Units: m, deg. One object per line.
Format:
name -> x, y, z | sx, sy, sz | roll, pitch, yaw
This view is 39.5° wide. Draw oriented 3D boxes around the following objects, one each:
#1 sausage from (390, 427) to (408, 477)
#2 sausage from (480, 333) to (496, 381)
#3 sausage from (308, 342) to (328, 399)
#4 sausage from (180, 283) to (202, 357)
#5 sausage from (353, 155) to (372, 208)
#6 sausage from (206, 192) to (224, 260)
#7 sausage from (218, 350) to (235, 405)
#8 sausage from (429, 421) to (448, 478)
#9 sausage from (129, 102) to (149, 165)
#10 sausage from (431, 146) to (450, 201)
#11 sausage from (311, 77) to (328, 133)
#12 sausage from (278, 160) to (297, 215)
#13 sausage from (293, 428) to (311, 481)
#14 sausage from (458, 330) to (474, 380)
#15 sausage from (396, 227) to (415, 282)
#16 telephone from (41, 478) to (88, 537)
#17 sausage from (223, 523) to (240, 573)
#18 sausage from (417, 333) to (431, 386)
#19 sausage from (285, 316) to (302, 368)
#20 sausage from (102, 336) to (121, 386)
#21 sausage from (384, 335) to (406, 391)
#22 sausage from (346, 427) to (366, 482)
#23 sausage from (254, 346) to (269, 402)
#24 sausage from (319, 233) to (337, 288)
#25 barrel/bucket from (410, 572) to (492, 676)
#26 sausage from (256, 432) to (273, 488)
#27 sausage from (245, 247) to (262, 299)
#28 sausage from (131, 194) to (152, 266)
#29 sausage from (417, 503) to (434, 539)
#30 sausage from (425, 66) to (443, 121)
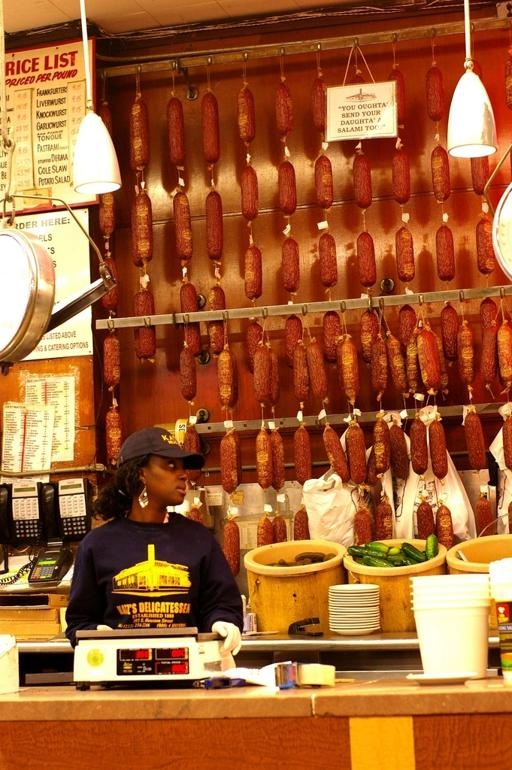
sausage -> 0.781, 0.374, 3.919 | 0.103, 0.310, 0.158 | -3, -5, 11
sausage -> 1.222, -0.148, 3.751 | 0.081, 0.267, 0.110 | -4, -5, 15
sausage -> 0.331, -0.072, 3.979 | 0.086, 0.336, 0.097 | -9, -10, 12
sausage -> -0.397, -0.401, 4.354 | 0.107, 0.461, 0.121 | -5, 5, 4
sausage -> 0.605, -1.153, 4.135 | 0.099, 0.348, 0.105 | -11, -11, 34
sausage -> -0.257, -0.959, 4.329 | 0.104, 0.408, 0.106 | -3, 0, 45
sausage -> -0.174, -0.047, 4.080 | 0.089, 0.340, 0.146 | -2, -5, -1
sausage -> 0.953, 0.349, 3.789 | 0.082, 0.312, 0.089 | -6, -2, -39
sausage -> -0.744, -1.587, 4.494 | 0.114, 0.443, 0.178 | -2, -5, -10
sausage -> 1.041, -1.206, 4.044 | 0.088, 0.349, 0.186 | -4, -5, 13
sausage -> 0.401, -1.661, 4.289 | 0.117, 0.111, 0.418 | -11, -31, 0
sausage -> 0.169, -1.197, 4.241 | 0.103, 0.345, 0.105 | -3, -5, 35
sausage -> 0.248, 0.402, 3.945 | 0.081, 0.309, 0.090 | -2, -9, 3
sausage -> 1.130, -0.145, 3.850 | 0.075, 0.282, 0.080 | 5, -5, -35
sausage -> 0.859, -0.735, 4.048 | 0.093, 0.331, 0.100 | -4, -13, -8
telephone -> -1.142, 0.747, 4.318 | 0.283, 0.392, 0.215 | -7, 9, -6
sausage -> -0.157, 0.897, 3.946 | 0.080, 0.297, 0.086 | -6, -6, 16
sausage -> 0.887, -0.131, 3.825 | 0.048, 0.290, 0.185 | -3, -5, 9
sausage -> 0.202, -0.240, 4.100 | 0.085, 0.280, 0.086 | -3, -8, 32
sausage -> -0.879, -0.149, 4.336 | 0.100, 0.326, 0.106 | 0, -2, 1
sausage -> 0.776, -0.127, 3.972 | 0.099, 0.333, 0.198 | -3, -5, 12
sausage -> 0.534, 0.375, 3.849 | 0.094, 0.302, 0.105 | -7, -1, 43
sausage -> 0.022, -0.068, 4.021 | 0.090, 0.338, 0.165 | -2, -5, -9
sausage -> 0.407, -0.710, 4.127 | 0.100, 0.336, 0.097 | -9, -6, 42
barrel/bucket -> 0.356, 0.432, 1.334 | 0.171, 0.205, 0.172 | 2, -13, 0
sausage -> 0.041, 0.408, 3.943 | 0.075, 0.308, 0.068 | -4, -5, 13
sausage -> -0.022, -0.678, 4.223 | 0.091, 0.325, 0.090 | -4, -8, 12
sausage -> -0.729, -0.964, 4.415 | 0.163, 0.447, 0.129 | -4, -5, 17
sausage -> 0.878, 0.708, 3.707 | 0.079, 0.184, 0.065 | -1, 0, 11
sausage -> 1.020, -1.690, 4.100 | 0.086, 0.373, 0.176 | -4, -5, 14
